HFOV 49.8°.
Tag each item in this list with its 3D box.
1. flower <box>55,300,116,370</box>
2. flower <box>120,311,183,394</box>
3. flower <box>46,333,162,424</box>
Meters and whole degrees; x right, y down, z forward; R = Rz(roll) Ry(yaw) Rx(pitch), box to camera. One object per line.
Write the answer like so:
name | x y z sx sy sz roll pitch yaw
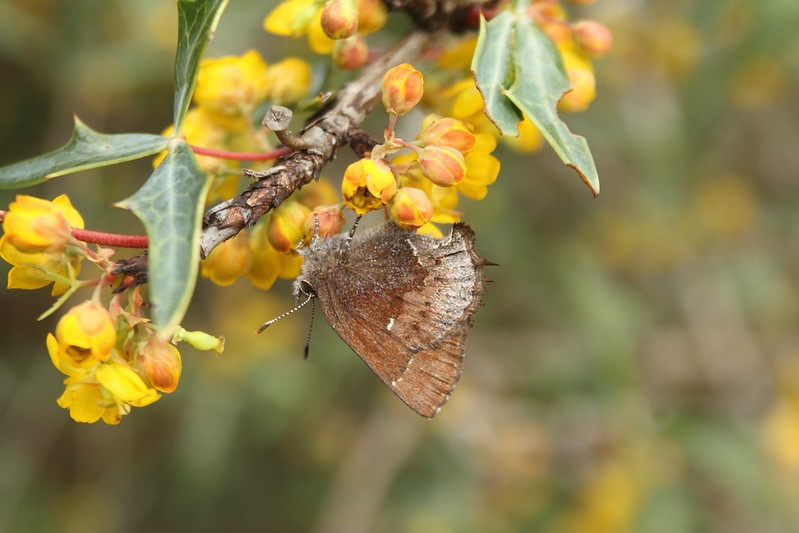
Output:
flower | -1.297 0.270 3.654 0.222 0.275 0.229 24 6 -16
flower | -1.058 0.381 3.667 0.207 0.137 0.354 -39 93 -16
flower | -1.275 0.536 3.693 0.435 0.432 0.212 28 57 -11
